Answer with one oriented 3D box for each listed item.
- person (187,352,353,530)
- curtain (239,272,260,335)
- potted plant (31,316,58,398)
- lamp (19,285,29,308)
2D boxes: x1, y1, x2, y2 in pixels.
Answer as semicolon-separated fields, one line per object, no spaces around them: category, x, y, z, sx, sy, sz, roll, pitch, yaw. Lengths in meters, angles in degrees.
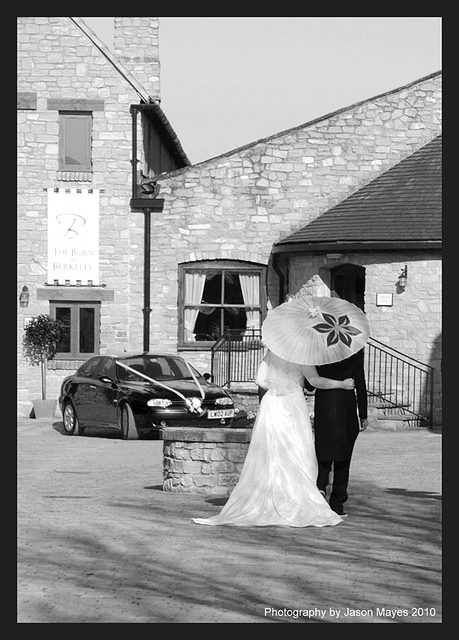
person;0.353;0.861;10.176;1.296;1.878;1.090;5;-18;-5
curtain;0.384;-0.460;22.220;0.420;0.156;1.305;1;-33;8
potted plant;-3.229;0.446;21.361;0.470;1.115;0.504;1;0;-27
lamp;-3.605;-0.410;21.848;0.145;0.355;0.281;1;0;-23
